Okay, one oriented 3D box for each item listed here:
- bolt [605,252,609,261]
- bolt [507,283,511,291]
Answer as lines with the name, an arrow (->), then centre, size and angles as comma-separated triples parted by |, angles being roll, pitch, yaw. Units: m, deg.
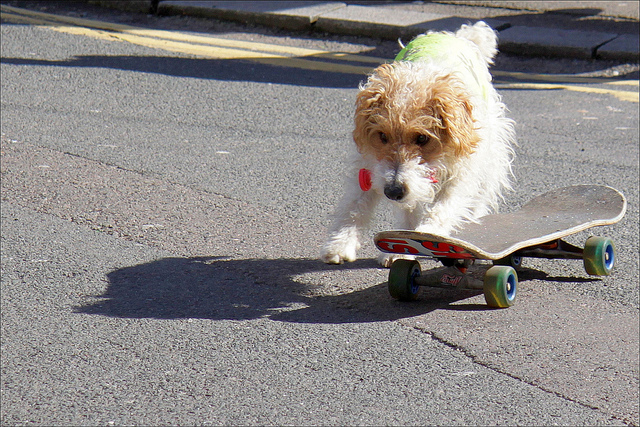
bolt -> 2.309, 0.343, 7.457 | 0.026, 0.067, 0.012 | 1, 0, -19
bolt -> 1.421, 0.546, 6.984 | 0.010, 0.045, 0.042 | 3, -2, 34
